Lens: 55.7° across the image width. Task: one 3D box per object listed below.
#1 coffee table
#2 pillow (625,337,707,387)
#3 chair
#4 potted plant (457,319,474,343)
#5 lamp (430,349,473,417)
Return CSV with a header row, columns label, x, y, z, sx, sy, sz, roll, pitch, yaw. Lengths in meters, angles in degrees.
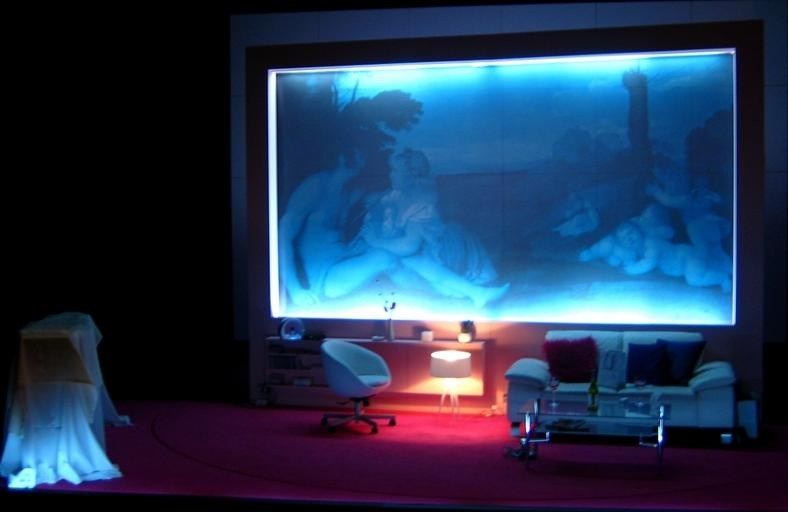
label,x,y,z,sx,sy,sz,roll,pitch,yaw
coffee table,2.245,1.981,8.595,1.797,0.670,0.931,1,9,5
pillow,3.403,1.317,9.278,0.704,0.668,0.216,9,-19,21
chair,-0.455,1.652,9.652,0.974,1.047,0.975,0,9,-1
potted plant,0.988,1.004,10.022,0.285,0.381,0.262,1,1,19
lamp,0.741,1.696,9.867,0.529,0.855,0.570,1,9,4
